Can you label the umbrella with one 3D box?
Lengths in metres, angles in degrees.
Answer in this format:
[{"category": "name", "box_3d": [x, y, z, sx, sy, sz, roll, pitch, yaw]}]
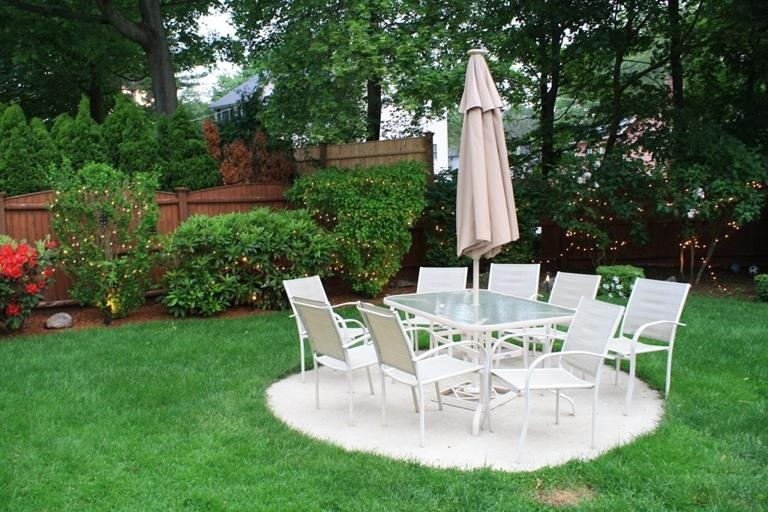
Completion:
[{"category": "umbrella", "box_3d": [1.518, -1.226, 9.803, 0.805, 3.681, 0.893, -6, 13, -34]}]
